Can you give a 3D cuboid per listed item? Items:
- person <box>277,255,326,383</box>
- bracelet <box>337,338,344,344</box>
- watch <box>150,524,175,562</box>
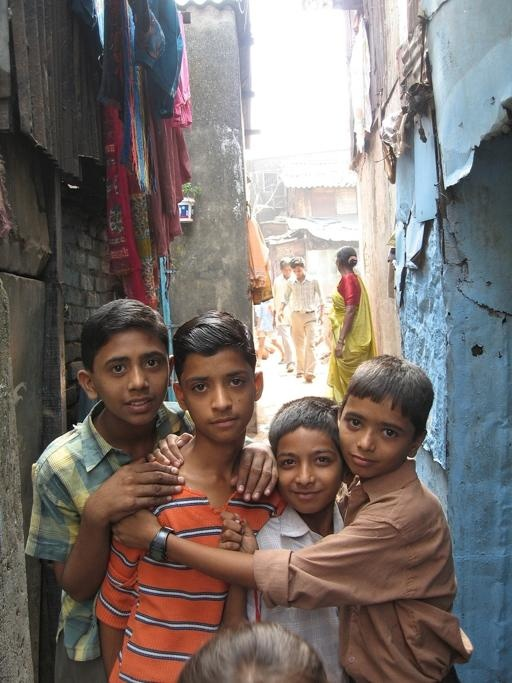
[{"bbox_3d":[0.736,-0.402,11.172,0.708,2.118,0.630,-16,22,-31],"label":"person"},{"bbox_3d":[0.829,-0.008,6.435,0.042,0.047,0.044,3,12,3],"label":"bracelet"},{"bbox_3d":[-0.244,0.509,1.677,0.054,0.072,0.072,4,-40,18],"label":"watch"}]
